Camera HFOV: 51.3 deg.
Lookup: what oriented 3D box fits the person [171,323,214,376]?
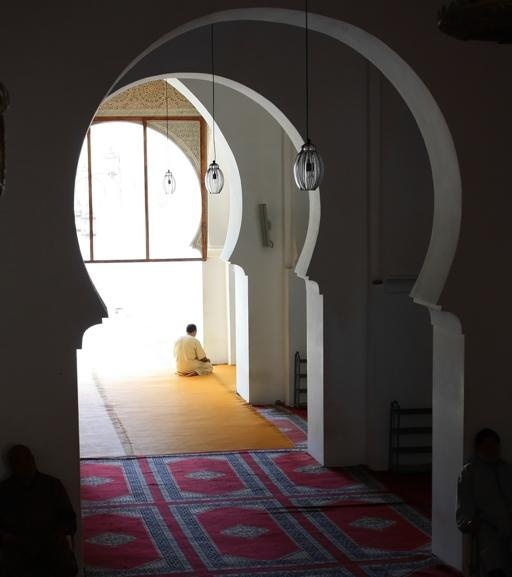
[{"bbox_3d":[-1.163,1.149,10.002,0.709,1.254,0.608,5,10,25],"label":"person"}]

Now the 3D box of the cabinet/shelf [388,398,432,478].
[{"bbox_3d":[1.550,1.486,5.251,0.174,0.673,0.508,-3,-15,25],"label":"cabinet/shelf"}]

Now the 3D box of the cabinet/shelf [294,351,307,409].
[{"bbox_3d":[0.684,1.297,7.545,0.256,0.814,0.141,2,-2,-23],"label":"cabinet/shelf"}]

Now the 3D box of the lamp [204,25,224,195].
[{"bbox_3d":[-0.448,-1.751,5.850,0.160,1.396,0.186,1,-7,15],"label":"lamp"}]

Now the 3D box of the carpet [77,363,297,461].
[{"bbox_3d":[-1.244,1.683,7.455,2.341,0.088,4.258,0,1,-19],"label":"carpet"}]
